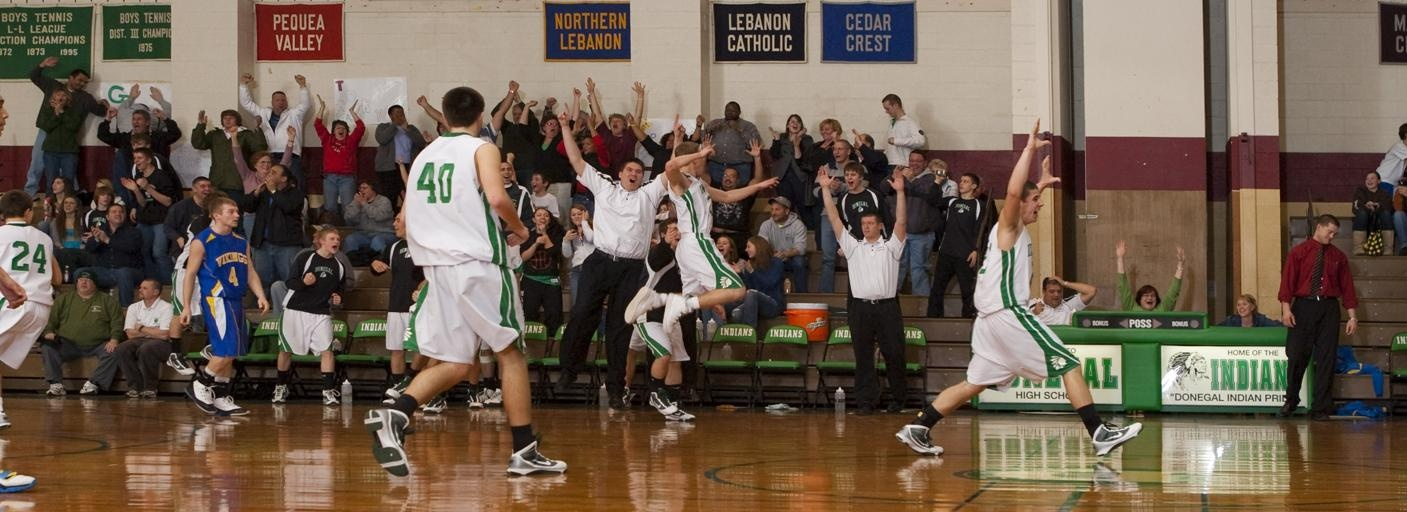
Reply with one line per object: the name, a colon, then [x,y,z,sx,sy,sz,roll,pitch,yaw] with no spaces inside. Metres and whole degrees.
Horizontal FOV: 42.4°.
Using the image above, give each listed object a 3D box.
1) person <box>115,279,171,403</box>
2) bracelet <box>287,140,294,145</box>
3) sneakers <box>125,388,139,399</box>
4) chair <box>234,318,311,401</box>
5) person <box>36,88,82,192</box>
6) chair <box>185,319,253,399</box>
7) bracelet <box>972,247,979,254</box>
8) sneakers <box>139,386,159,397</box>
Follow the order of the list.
person: [-16.284,2.378,53.242,1.591,3.338,0.825,-2,4,-8]
bracelet: [-12.773,-3.546,56.665,0.182,0.135,0.159,0,-2,-6]
sneakers: [-16.579,3.970,53.056,0.417,0.218,0.300,-1,4,2]
chair: [-12.853,3.150,54.169,2.704,2.936,2.478,1,-17,-11]
person: [-20.118,-3.633,57.046,1.368,3.162,0.662,-1,4,5]
chair: [-13.637,2.977,51.706,1.453,3.117,2.405,-3,-5,7]
bracelet: [7.989,-0.157,53.299,0.270,0.128,0.176,-1,-6,11]
sneakers: [-16.091,3.964,53.093,0.660,0.174,0.264,2,-1,7]
